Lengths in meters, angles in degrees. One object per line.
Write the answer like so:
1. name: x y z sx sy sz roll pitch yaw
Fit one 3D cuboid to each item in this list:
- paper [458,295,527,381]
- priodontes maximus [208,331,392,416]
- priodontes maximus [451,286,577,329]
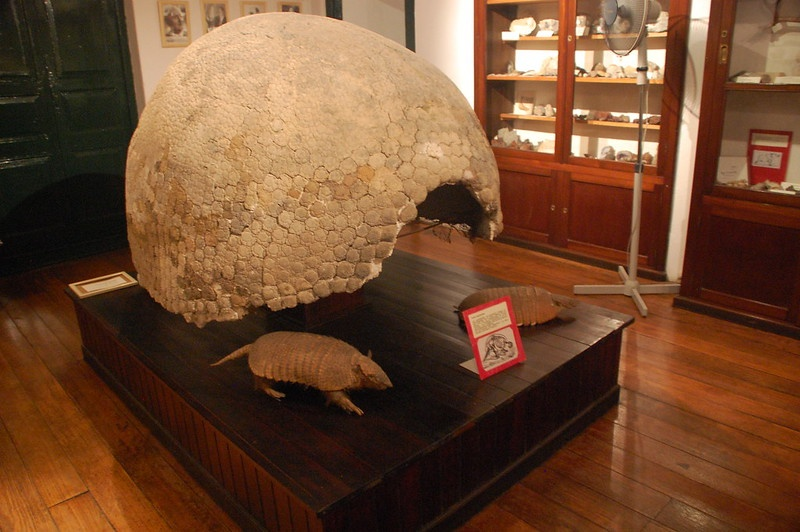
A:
1. paper: 0.508 0.401 3.144 0.340 0.393 0.027 -20 9 -26
2. priodontes maximus: -0.484 0.504 2.921 0.838 0.257 0.326 10 43 10
3. priodontes maximus: 0.748 0.213 3.475 0.529 0.125 0.307 -3 22 -5
